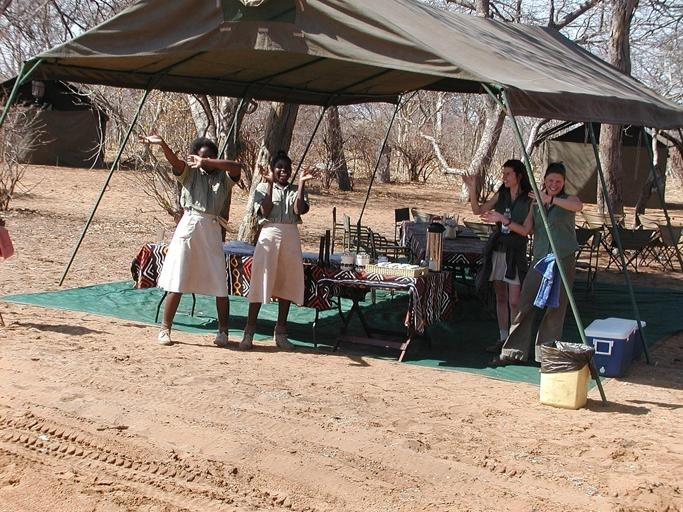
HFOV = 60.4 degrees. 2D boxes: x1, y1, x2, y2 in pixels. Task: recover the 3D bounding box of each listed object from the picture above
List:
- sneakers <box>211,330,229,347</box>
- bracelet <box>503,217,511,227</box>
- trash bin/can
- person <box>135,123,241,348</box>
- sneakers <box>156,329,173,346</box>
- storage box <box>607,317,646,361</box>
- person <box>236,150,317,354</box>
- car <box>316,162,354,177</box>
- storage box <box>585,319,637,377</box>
[{"bbox_3d":[-1.385,0.948,6.663,0.241,0.146,0.417,4,-3,-13],"label":"sneakers"},{"bbox_3d":[1.767,-0.353,6.218,0.037,0.089,0.102,37,-27,-23],"label":"bracelet"},{"bbox_3d":[1.990,1.088,5.262,0.453,0.528,0.235,7,12,15],"label":"trash bin/can"},{"bbox_3d":[-1.659,-0.136,6.473,0.903,2.311,0.763,5,12,0],"label":"person"},{"bbox_3d":[-1.981,0.915,6.516,0.218,0.174,0.529,2,-3,-18],"label":"sneakers"},{"bbox_3d":[2.979,0.921,6.378,0.506,0.353,0.709,4,3,32],"label":"storage box"},{"bbox_3d":[-0.729,-0.037,6.552,0.697,2.220,0.661,4,13,-5],"label":"person"},{"bbox_3d":[-0.522,-4.500,30.486,1.545,0.656,6.321,2,9,-4],"label":"car"},{"bbox_3d":[2.886,0.987,6.429,0.588,0.426,0.858,0,2,28],"label":"storage box"}]
